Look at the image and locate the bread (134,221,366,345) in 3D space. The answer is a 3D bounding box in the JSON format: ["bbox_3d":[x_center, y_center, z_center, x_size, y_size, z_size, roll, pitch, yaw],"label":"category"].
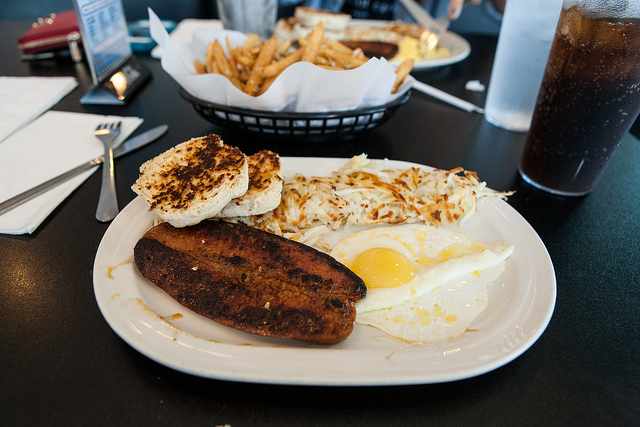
[{"bbox_3d":[-0.307,0.266,1.948,0.860,0.120,0.421,18,49,9],"label":"bread"}]

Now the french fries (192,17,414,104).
[{"bbox_3d":[-0.156,-0.862,2.699,1.162,0.302,0.675,17,47,16],"label":"french fries"}]

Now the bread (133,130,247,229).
[{"bbox_3d":[-0.589,-0.169,2.164,0.422,0.111,0.416,-33,50,-20],"label":"bread"}]
